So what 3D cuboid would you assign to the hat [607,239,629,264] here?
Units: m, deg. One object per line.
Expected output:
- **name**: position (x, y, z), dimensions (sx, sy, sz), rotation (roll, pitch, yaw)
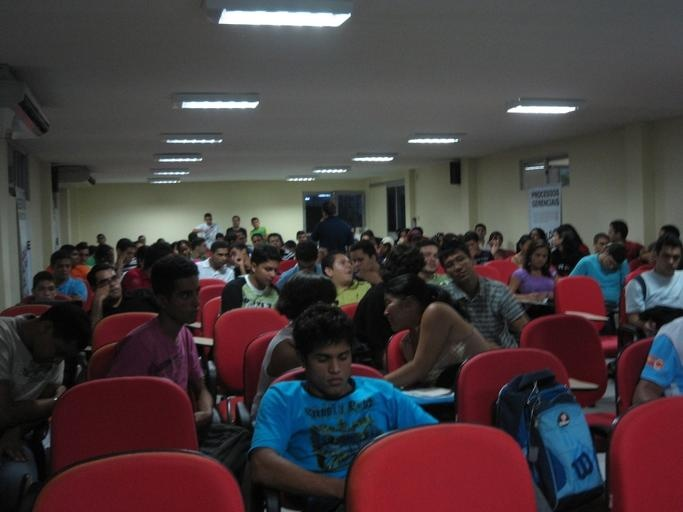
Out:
- **hat**: position (3.167, -0.075, 5.862), dimensions (0.187, 0.274, 0.284), rotation (6, 21, 2)
